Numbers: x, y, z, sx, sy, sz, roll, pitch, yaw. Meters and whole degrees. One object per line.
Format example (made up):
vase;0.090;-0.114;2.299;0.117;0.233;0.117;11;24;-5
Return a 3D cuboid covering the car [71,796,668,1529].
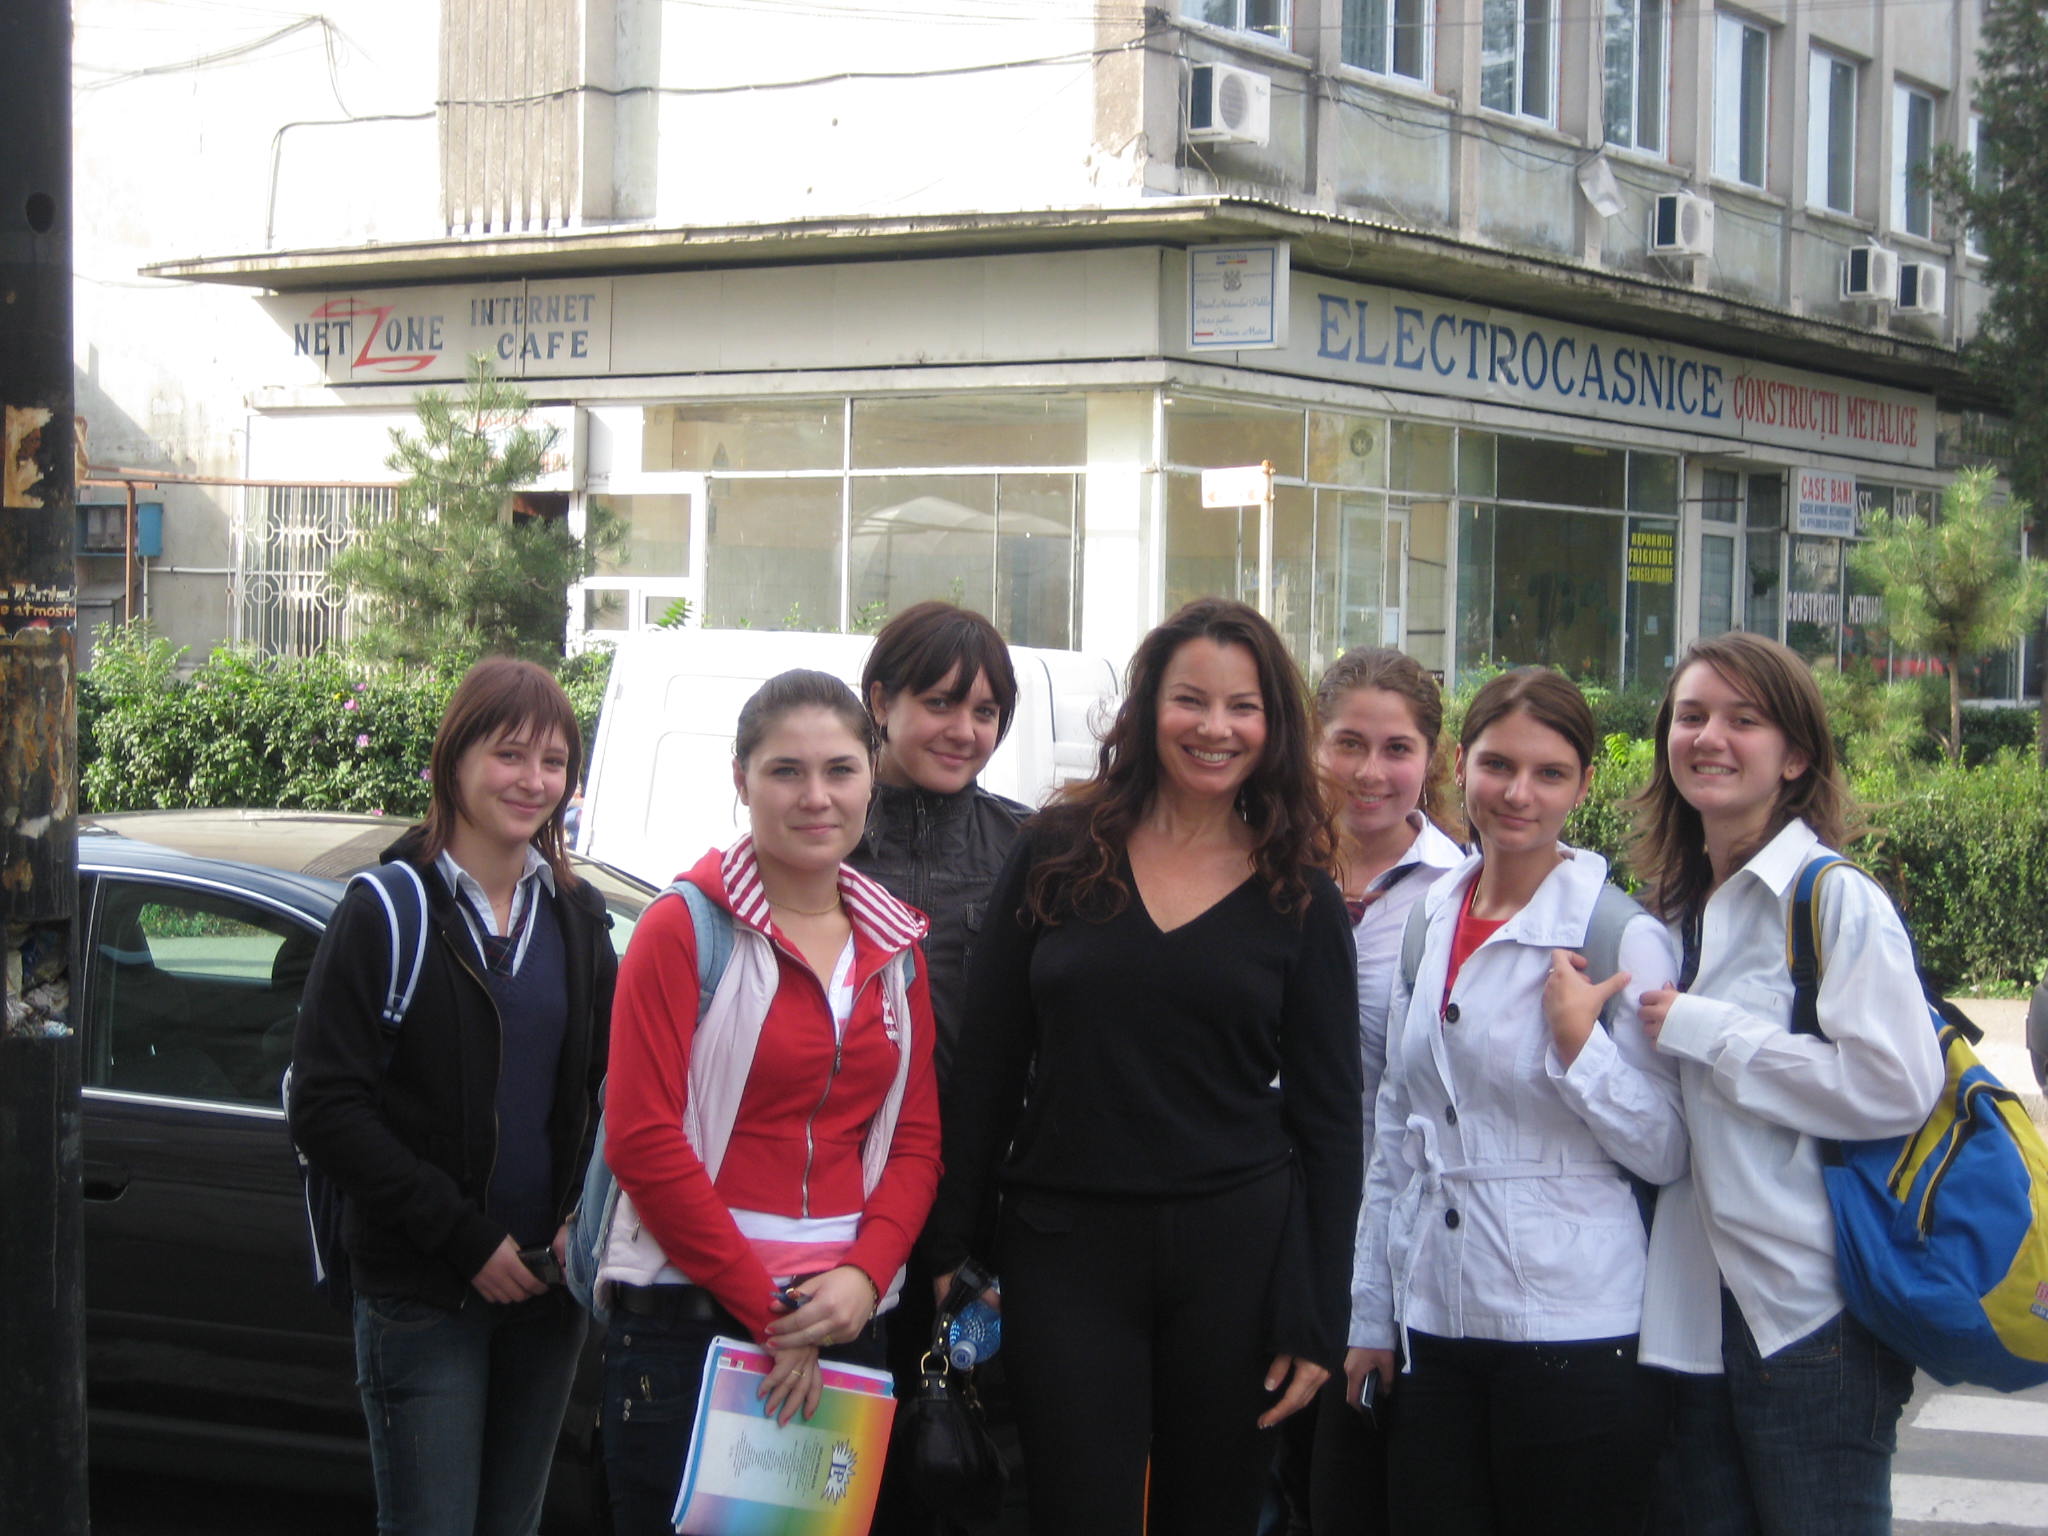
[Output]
car;-2.095;1.019;6.417;2.022;1.258;1.232;-1;-1;9

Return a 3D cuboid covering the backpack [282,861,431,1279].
backpack;-1.570;0.702;4.991;0.284;0.963;0.703;1;-1;-29

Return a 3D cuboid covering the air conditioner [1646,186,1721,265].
air conditioner;6.881;-5.783;22.815;0.511;1.127;1.003;3;4;33

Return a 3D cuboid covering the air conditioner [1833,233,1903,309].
air conditioner;9.821;-5.798;25.577;0.622;0.962;0.628;1;2;30

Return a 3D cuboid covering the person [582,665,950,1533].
person;-0.525;0.679;4.538;0.749;1.506;0.326;1;0;-14
